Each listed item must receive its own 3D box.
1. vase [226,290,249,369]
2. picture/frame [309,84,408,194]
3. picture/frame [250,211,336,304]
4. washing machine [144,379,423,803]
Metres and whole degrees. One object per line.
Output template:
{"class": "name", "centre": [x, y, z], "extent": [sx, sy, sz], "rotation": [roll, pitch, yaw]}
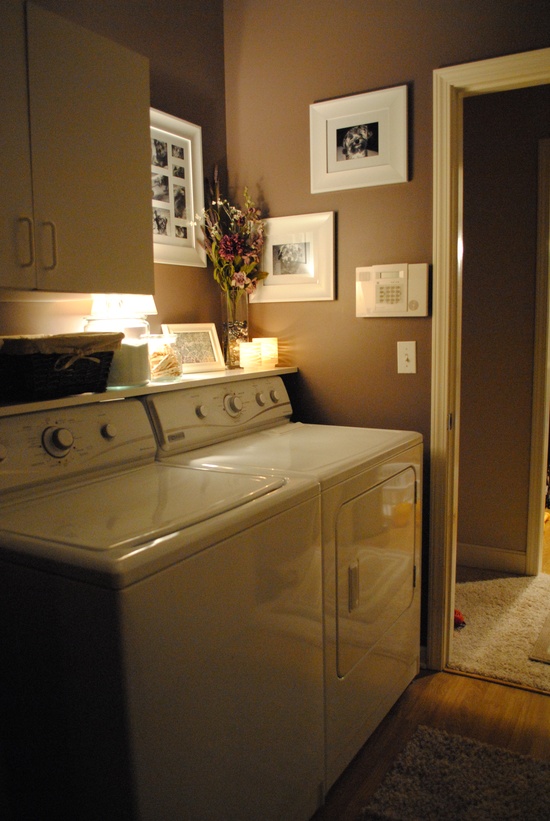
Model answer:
{"class": "vase", "centre": [-0.154, -0.314, 2.329], "extent": [0.087, 0.291, 0.224], "rotation": [-2, 4, -5]}
{"class": "picture/frame", "centre": [0.314, -0.992, 2.151], "extent": [0.408, 0.372, 0.031], "rotation": [4, 9, 38]}
{"class": "picture/frame", "centre": [0.078, -0.617, 2.346], "extent": [0.350, 0.316, 0.030], "rotation": [3, 8, 31]}
{"class": "washing machine", "centre": [0.146, 0.324, 2.358], "extent": [0.890, 1.766, 1.203], "rotation": [2, 9, 25]}
